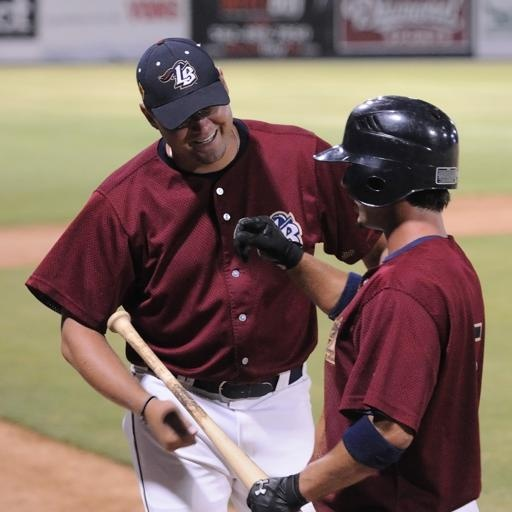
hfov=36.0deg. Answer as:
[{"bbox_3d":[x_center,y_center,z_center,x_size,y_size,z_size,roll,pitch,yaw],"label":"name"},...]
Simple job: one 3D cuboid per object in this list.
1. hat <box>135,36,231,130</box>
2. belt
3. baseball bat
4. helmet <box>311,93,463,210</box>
[{"bbox_3d":[-0.284,-0.673,3.082,0.315,0.336,0.277,-9,18,-10],"label":"hat"},{"bbox_3d":[-0.065,0.535,3.401,0.324,0.059,0.311,-14,13,-40],"label":"belt"},{"bbox_3d":[-0.246,0.565,3.182,1.127,0.146,0.147,36,58,16],"label":"baseball bat"},{"bbox_3d":[0.514,-0.374,2.736,0.374,0.319,0.520,-17,27,-40],"label":"helmet"}]
